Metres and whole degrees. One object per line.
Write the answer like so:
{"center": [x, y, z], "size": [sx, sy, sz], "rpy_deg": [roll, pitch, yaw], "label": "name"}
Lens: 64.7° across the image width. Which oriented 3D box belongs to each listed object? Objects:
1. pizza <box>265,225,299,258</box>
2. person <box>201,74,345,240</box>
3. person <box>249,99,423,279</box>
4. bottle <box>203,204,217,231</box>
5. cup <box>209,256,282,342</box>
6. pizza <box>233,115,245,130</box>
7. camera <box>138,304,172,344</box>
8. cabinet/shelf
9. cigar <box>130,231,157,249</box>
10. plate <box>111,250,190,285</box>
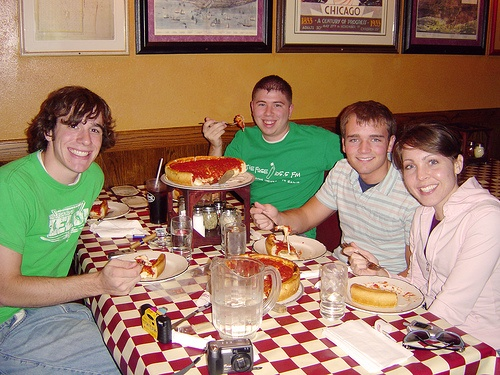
{"center": [0.145, 0.278, 1.838], "size": [0.146, 0.050, 0.146], "rpy_deg": [-34, 46, -31], "label": "pizza"}
{"center": [0.092, -0.202, 3.246], "size": [1.111, 1.410, 1.014], "rpy_deg": [-1, 0, -38], "label": "person"}
{"center": [0.462, 0.027, 2.201], "size": [0.508, 0.845, 0.651], "rpy_deg": [-19, 36, -23], "label": "person"}
{"center": [-0.209, 0.159, 2.081], "size": [0.090, 0.114, 0.108], "rpy_deg": [0, 3, -3], "label": "bottle"}
{"center": [-0.018, 0.369, 1.354], "size": [0.230, 0.260, 0.229], "rpy_deg": [0, 12, 0], "label": "cup"}
{"center": [-0.072, -0.471, 2.832], "size": [0.049, 0.127, 0.096], "rpy_deg": [-4, 3, 5], "label": "pizza"}
{"center": [-0.351, 0.461, 1.326], "size": [0.042, 0.145, 0.080], "rpy_deg": [-23, 41, 17], "label": "camera"}
{"center": [-0.217, 0.089, 2.068], "size": [0.345, 0.337, 0.346], "rpy_deg": [-8, 17, -26], "label": "cabinet/shelf"}
{"center": [-0.533, 0.267, 1.970], "size": [0.038, 0.036, 0.174], "rpy_deg": [-3, 17, 35], "label": "cigar"}
{"center": [-0.398, 0.345, 1.752], "size": [0.174, 0.025, 0.174], "rpy_deg": [8, 19, 10], "label": "plate"}
